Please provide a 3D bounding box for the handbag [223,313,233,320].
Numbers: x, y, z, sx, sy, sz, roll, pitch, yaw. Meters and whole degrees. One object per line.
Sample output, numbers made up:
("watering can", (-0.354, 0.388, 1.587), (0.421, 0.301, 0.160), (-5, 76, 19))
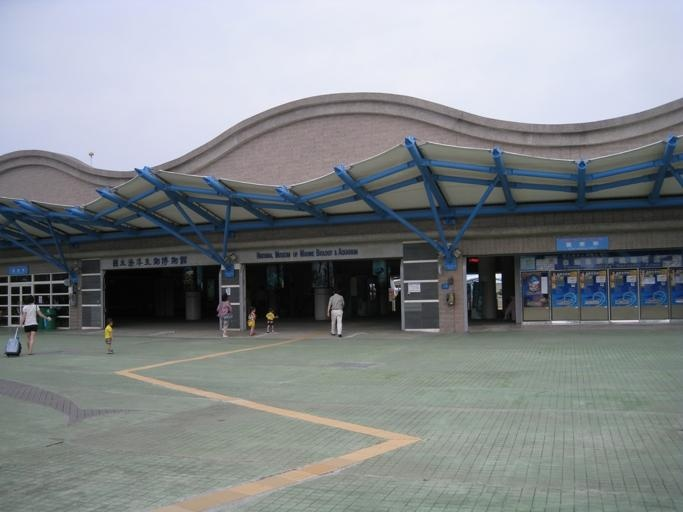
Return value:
("handbag", (-4.713, 2.540, 23.454), (0.326, 0.312, 0.557), (-6, -9, 34))
